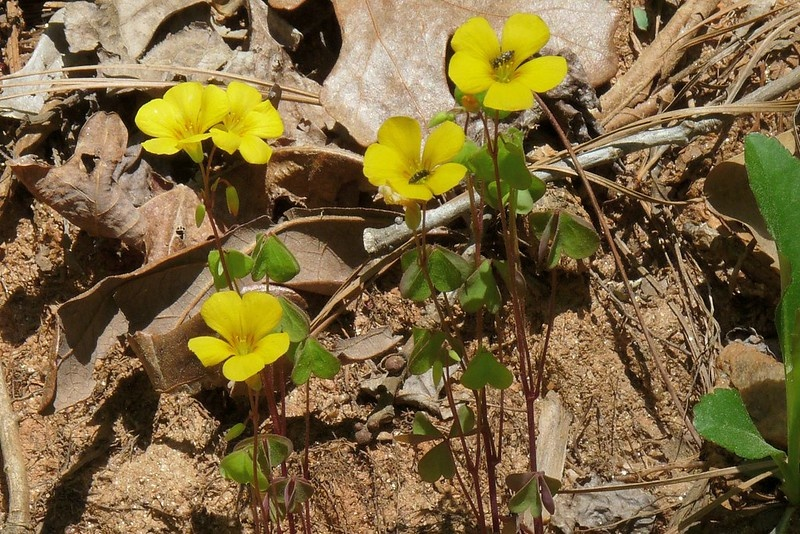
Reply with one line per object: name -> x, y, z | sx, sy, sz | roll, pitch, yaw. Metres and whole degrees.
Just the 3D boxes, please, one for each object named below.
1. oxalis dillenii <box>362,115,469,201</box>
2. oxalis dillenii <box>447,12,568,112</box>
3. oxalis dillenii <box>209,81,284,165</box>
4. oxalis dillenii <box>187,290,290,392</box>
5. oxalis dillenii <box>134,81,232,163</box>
oxalis dillenii -> 0.052, -0.489, 4.157 | 0.392, 0.480, 0.242 | 7, 71, 9
oxalis dillenii -> 0.432, -0.881, 3.962 | 0.447, 0.244, 0.440 | -25, 48, -33
oxalis dillenii -> -0.715, -0.624, 4.369 | 0.362, 0.140, 0.346 | 46, 68, -3
oxalis dillenii -> -0.701, 0.292, 4.195 | 0.390, 0.171, 0.422 | 36, 72, 20
oxalis dillenii -> -0.979, -0.671, 4.235 | 0.355, 0.244, 0.397 | -10, 65, 3
